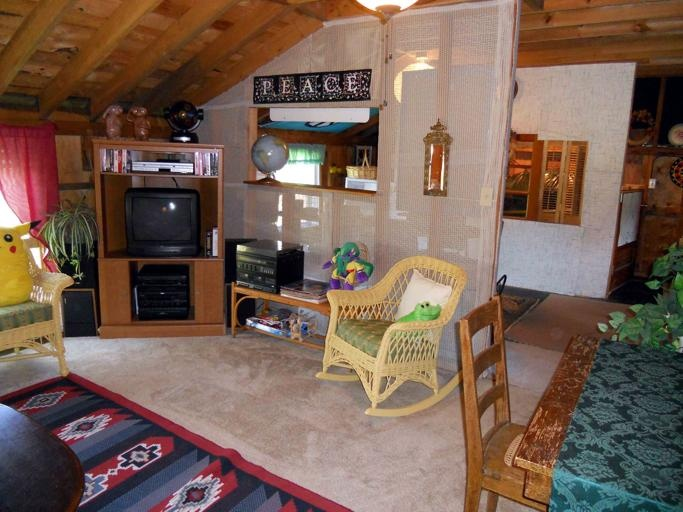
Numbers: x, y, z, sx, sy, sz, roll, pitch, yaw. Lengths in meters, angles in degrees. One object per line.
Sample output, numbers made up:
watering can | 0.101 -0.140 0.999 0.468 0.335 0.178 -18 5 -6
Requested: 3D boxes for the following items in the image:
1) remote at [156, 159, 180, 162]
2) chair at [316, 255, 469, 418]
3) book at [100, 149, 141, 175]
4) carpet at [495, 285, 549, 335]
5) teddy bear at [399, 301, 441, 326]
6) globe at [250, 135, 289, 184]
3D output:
remote | -1.697 -0.932 4.912 0.171 0.031 0.119 8 9 44
chair | 0.305 0.571 4.271 1.525 1.126 1.257 -3 10 -32
book | -2.116 -0.893 4.729 0.288 0.236 0.107 -2 8 -19
carpet | 2.178 0.618 6.141 0.550 0.144 0.739 10 19 38
teddy bear | 0.581 0.420 3.716 0.312 0.153 0.266 1 6 8
globe | -0.660 -0.998 5.302 0.608 0.530 0.512 2 9 -6
